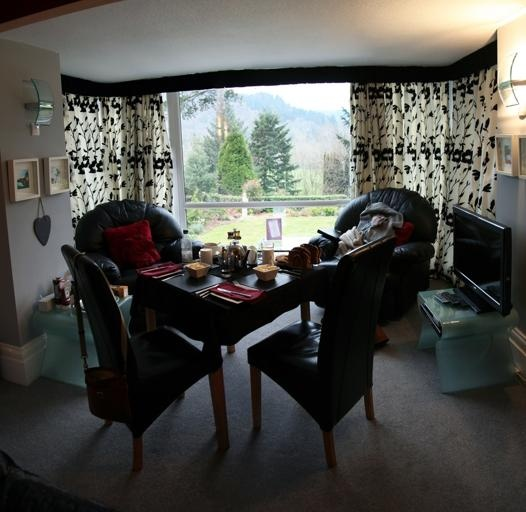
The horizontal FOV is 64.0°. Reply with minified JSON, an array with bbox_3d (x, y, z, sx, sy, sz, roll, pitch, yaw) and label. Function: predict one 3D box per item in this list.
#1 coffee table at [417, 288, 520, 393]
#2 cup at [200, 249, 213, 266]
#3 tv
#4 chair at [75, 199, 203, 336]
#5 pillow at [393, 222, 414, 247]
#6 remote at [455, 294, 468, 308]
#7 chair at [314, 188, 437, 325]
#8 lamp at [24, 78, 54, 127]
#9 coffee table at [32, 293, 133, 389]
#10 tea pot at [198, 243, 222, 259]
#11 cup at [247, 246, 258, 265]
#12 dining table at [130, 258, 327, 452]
[{"bbox_3d":[1.335,0.424,2.801,0.464,0.576,0.642,-3,4,-8],"label":"coffee table"},{"bbox_3d":[-0.376,0.009,2.774,0.064,0.097,0.075,3,11,10],"label":"cup"},{"bbox_3d":[1.430,0.044,2.733,0.154,0.484,0.590,-4,12,6],"label":"tv"},{"bbox_3d":[-1.006,-0.012,3.948,1.095,1.463,0.984,-16,14,-34],"label":"chair"},{"bbox_3d":[1.220,-0.192,3.666,0.070,0.225,0.187,11,-10,46],"label":"pillow"},{"bbox_3d":[1.367,0.303,2.892,0.071,0.026,0.079,11,18,22],"label":"remote"},{"bbox_3d":[1.142,-0.249,4.306,1.188,1.581,1.183,-12,11,-38],"label":"chair"},{"bbox_3d":[-1.500,-1.028,2.813,0.137,0.277,0.143,2,12,16],"label":"lamp"},{"bbox_3d":[-1.353,0.404,3.099,0.563,0.798,0.690,-4,4,-44],"label":"coffee table"},{"bbox_3d":[-0.359,-0.051,2.928,0.110,0.106,0.104,1,7,0],"label":"tea pot"},{"bbox_3d":[-0.074,0.007,2.742,0.053,0.126,0.107,0,8,-3],"label":"cup"},{"bbox_3d":[-0.175,0.413,2.523,0.757,0.710,0.792,6,7,40],"label":"dining table"}]
